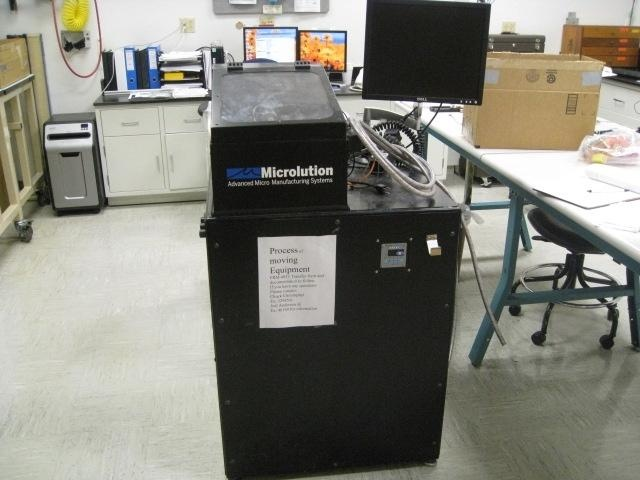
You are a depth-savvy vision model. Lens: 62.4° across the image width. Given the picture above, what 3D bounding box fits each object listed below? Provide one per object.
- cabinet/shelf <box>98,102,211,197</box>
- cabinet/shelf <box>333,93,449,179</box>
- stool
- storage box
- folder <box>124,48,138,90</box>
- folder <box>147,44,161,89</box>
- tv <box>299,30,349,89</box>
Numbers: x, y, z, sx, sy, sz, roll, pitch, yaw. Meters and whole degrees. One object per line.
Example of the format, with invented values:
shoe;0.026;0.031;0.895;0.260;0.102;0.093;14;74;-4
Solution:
cabinet/shelf;-1.390;-0.779;4.558;0.887;0.808;0.345;-8;24;-26
cabinet/shelf;0.527;-0.746;3.689;0.577;0.213;0.385;12;22;-25
stool;1.444;0.137;3.012;0.572;0.739;0.589;-3;25;4
storage box;1.142;-0.817;2.920;0.854;0.421;0.831;-28;36;-36
folder;-1.678;-1.490;4.620;0.115;0.331;0.328;-6;12;-29
folder;-1.419;-1.483;4.534;0.085;0.251;0.253;1;43;-6
tv;0.021;-1.640;4.740;0.432;0.456;0.195;-3;21;-4
